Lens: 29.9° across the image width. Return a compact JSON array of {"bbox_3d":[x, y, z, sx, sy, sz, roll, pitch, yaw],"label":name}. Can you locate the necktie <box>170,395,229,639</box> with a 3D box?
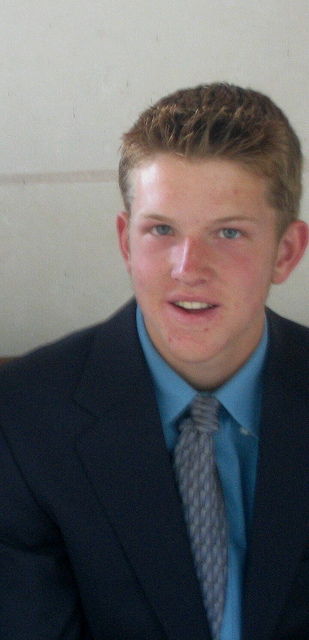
[{"bbox_3d":[0.094,0.406,1.255,0.093,0.508,0.084,-5,-3,5],"label":"necktie"}]
